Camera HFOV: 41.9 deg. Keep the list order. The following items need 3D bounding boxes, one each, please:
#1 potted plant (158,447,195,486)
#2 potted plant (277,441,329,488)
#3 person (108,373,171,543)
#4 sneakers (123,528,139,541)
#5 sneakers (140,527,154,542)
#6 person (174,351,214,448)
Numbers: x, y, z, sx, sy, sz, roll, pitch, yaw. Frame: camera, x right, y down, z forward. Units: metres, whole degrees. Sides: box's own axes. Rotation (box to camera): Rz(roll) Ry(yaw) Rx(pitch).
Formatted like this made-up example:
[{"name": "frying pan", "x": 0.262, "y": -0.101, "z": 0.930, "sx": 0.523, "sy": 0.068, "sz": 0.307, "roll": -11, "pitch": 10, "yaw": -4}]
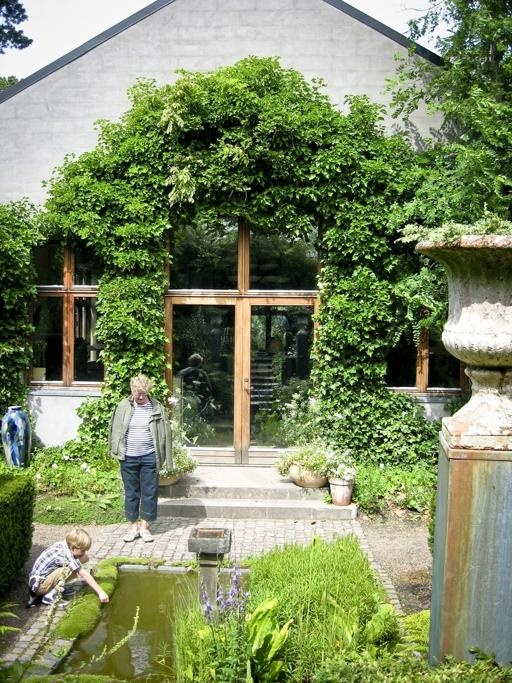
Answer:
[{"name": "potted plant", "x": -0.906, "y": 1.503, "z": 7.940, "sx": 0.456, "sy": 0.282, "sz": 0.435, "roll": -1, "pitch": 4, "yaw": 11}, {"name": "potted plant", "x": 0.534, "y": 1.485, "z": 7.794, "sx": 0.531, "sy": 0.329, "sz": 0.529, "roll": 6, "pitch": 5, "yaw": 41}, {"name": "person", "x": -1.154, "y": 1.174, "z": 6.745, "sx": 0.592, "sy": 1.644, "sz": 0.421, "roll": 2, "pitch": 0, "yaw": -21}, {"name": "sneakers", "x": -1.242, "y": 1.956, "z": 6.741, "sx": 0.134, "sy": 0.130, "sz": 0.311, "roll": 2, "pitch": 0, "yaw": -2}, {"name": "sneakers", "x": -1.093, "y": 1.953, "z": 6.731, "sx": 0.142, "sy": 0.135, "sz": 0.279, "roll": 2, "pitch": 0, "yaw": -9}, {"name": "person", "x": -0.832, "y": 0.798, "z": 9.174, "sx": 0.508, "sy": 1.216, "sz": 0.115, "roll": 2, "pitch": 0, "yaw": -3}]
